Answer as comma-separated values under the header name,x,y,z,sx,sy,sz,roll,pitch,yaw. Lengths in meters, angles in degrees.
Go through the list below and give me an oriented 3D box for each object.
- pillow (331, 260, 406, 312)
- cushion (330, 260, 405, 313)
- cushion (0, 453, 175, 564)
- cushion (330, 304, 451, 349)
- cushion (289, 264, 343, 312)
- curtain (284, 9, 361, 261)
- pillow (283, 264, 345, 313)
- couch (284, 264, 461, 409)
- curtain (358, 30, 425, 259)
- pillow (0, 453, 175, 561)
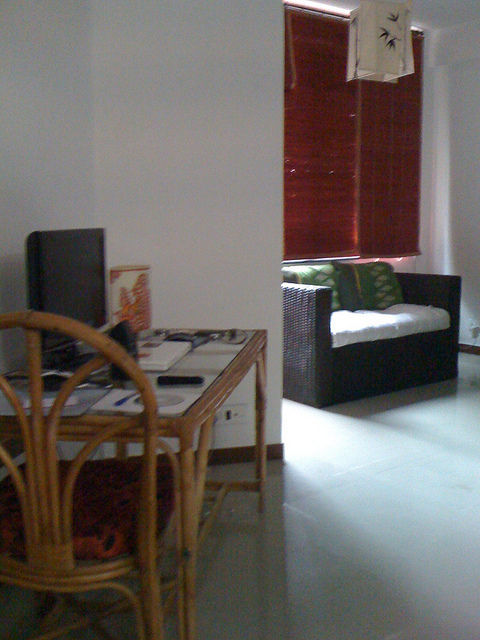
name,x,y,z,sx,sy,sz,roll,pitch,yaw
pillow,0.900,-0.234,4.279,0.411,0.392,0.120,-4,-16,-27
cushion,0.887,-0.220,4.267,0.409,0.393,0.121,1,-16,-24
cushion,-0.321,0.385,1.253,0.279,0.064,0.278,0,5,14
cushion,0.839,0.023,3.853,1.116,0.154,0.375,-7,10,-38
cushion,0.514,-0.214,4.110,0.332,0.305,0.335,2,3,33
curtain,0.596,-1.275,4.406,0.155,1.679,0.765,8,12,43
pillow,0.491,-0.211,4.125,0.312,0.301,0.506,7,11,39
couch,0.753,0.058,3.960,1.315,0.735,0.623,-6,10,-36
curtain,1.207,-1.398,4.862,0.183,1.795,0.827,7,11,40
pillow,-0.317,0.335,1.268,0.278,0.071,0.278,0,4,17
